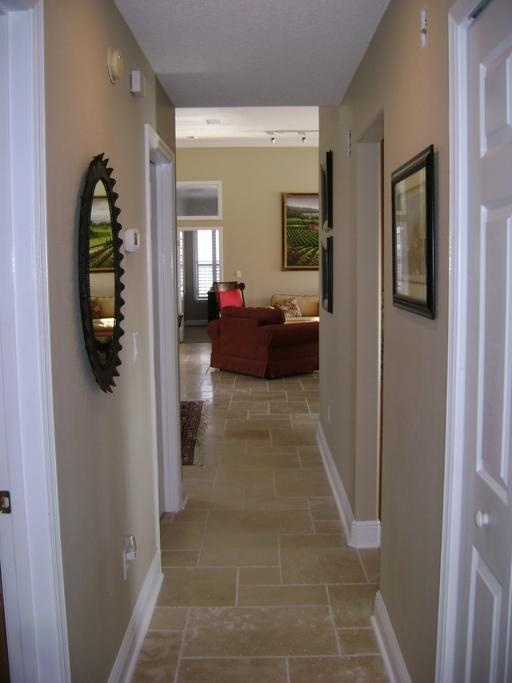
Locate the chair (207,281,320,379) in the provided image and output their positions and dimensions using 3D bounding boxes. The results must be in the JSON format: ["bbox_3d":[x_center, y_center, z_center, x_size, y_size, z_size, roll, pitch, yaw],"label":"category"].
[{"bbox_3d":[0.087,0.020,7.247,1.583,0.998,0.910,1,5,5],"label":"chair"}]

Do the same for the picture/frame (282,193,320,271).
[{"bbox_3d":[0.984,-2.114,9.823,1.023,2.047,0.129,1,-30,5],"label":"picture/frame"}]

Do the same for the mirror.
[{"bbox_3d":[-0.477,-0.213,1.578,0.094,0.762,0.474,-1,5,-12],"label":"mirror"}]

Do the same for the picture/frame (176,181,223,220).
[{"bbox_3d":[-1.099,-2.712,9.762,0.868,0.716,0.146,1,4,8],"label":"picture/frame"}]
